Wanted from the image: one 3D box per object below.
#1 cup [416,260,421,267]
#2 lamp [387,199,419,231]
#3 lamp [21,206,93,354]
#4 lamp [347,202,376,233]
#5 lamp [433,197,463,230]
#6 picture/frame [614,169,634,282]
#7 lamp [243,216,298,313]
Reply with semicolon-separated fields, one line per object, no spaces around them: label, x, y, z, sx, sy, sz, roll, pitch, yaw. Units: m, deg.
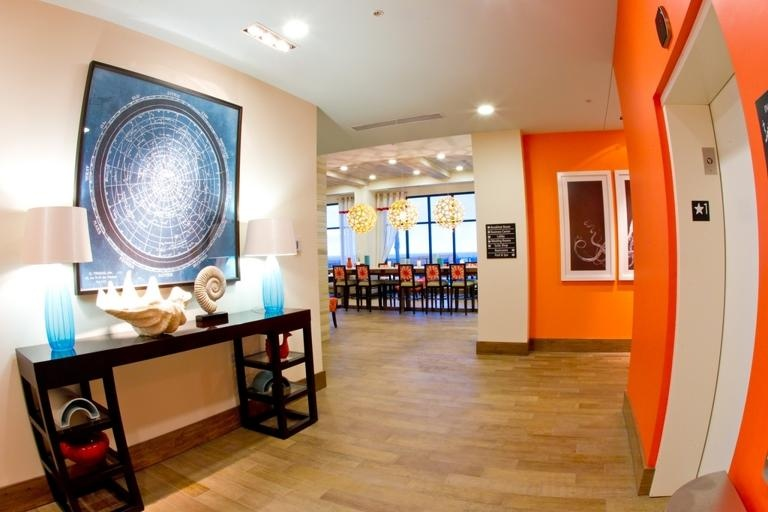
cup;0.794;0.187;11.648;0.128;0.149;0.131;-2;2;0
lamp;0.451;-0.863;10.626;0.640;0.661;0.609;-1;4;-17
lamp;-2.325;0.149;3.603;0.519;1.006;0.378;6;11;42
lamp;-0.490;-0.814;11.116;0.661;0.684;0.668;0;2;-26
lamp;1.210;-0.847;10.102;0.624;0.657;0.602;-1;3;-15
picture/frame;3.199;-0.411;6.746;0.226;1.458;0.269;1;9;16
lamp;-1.063;0.084;4.710;0.458;0.878;0.546;-6;9;-25
